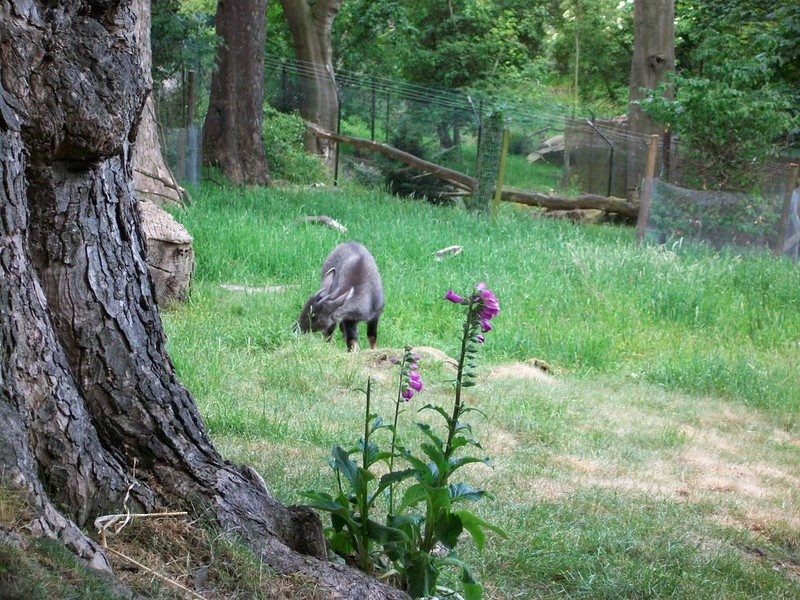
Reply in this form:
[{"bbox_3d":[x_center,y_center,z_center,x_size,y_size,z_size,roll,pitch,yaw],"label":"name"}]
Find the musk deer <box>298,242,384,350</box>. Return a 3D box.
[{"bbox_3d":[-0.986,-0.183,25.949,1.214,1.864,1.155,16,14,38],"label":"musk deer"}]
